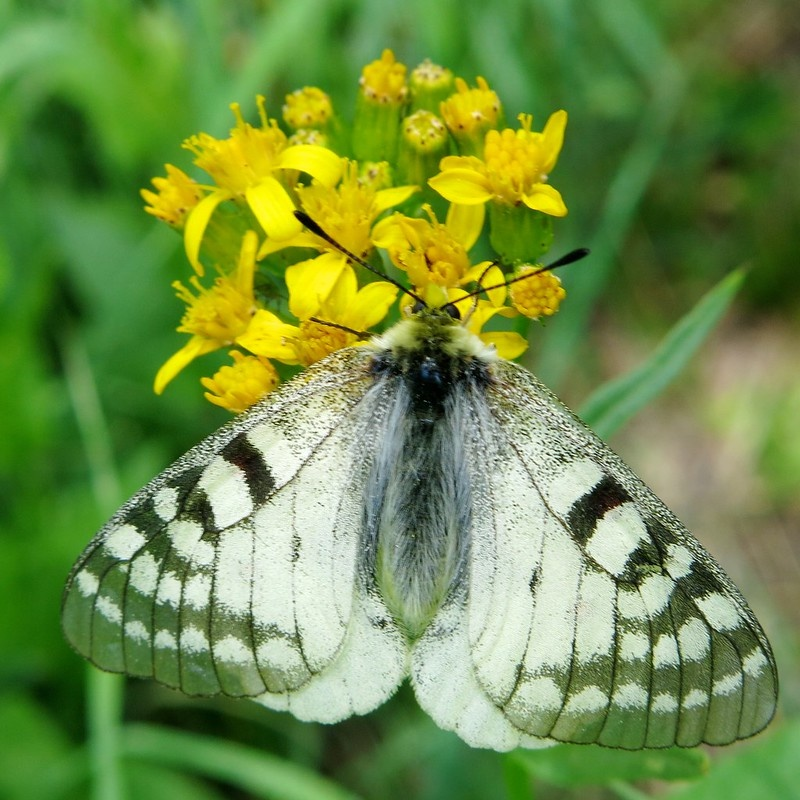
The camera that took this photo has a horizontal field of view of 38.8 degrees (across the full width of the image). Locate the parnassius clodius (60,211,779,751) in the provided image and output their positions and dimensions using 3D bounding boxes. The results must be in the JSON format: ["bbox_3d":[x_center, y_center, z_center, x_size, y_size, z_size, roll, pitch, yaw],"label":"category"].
[{"bbox_3d":[0.072,0.471,3.336,2.546,0.777,1.396,4,98,10],"label":"parnassius clodius"}]

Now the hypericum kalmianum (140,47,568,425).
[{"bbox_3d":[-0.169,-0.627,3.788,1.009,1.640,1.492,0,35,-2],"label":"hypericum kalmianum"}]
